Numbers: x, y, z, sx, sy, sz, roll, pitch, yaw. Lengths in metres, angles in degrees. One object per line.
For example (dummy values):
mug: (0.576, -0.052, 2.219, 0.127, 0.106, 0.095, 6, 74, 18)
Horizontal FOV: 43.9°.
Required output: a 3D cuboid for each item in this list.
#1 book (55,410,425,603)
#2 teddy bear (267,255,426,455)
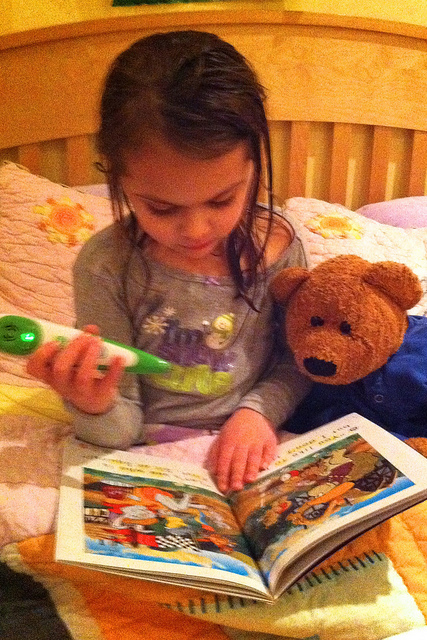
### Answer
book: (0.010, 0.134, 0.563, 0.317, 0.071, 0.162, -7, 13, -8)
teddy bear: (0.188, 0.056, 0.849, 0.259, 0.263, 0.322, 3, 20, 5)
